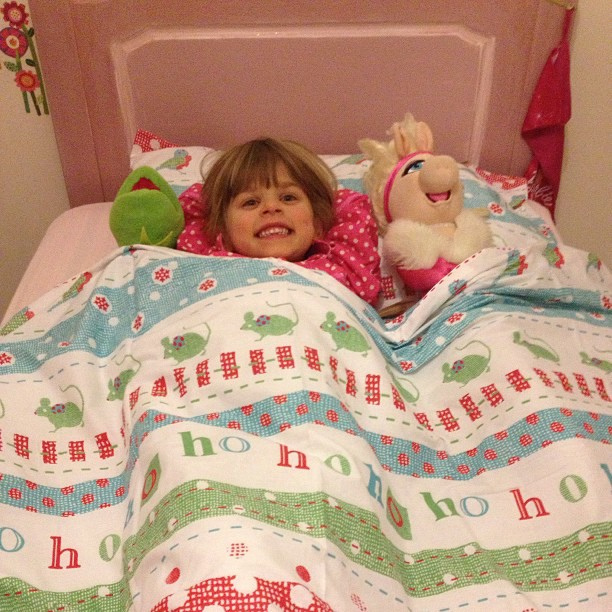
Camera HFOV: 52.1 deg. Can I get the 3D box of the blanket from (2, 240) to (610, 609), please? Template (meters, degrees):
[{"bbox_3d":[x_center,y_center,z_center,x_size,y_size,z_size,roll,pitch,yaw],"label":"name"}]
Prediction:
[{"bbox_3d":[-0.018,0.188,1.096,1.018,0.131,0.660,3,44,-7],"label":"blanket"}]

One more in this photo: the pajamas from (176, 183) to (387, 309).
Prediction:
[{"bbox_3d":[-0.039,-0.157,1.781,0.537,0.345,0.419,3,31,9],"label":"pajamas"}]

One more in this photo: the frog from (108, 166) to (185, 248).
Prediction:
[{"bbox_3d":[-0.408,-0.235,1.588,0.175,0.200,0.211,-4,29,-3],"label":"frog"}]
